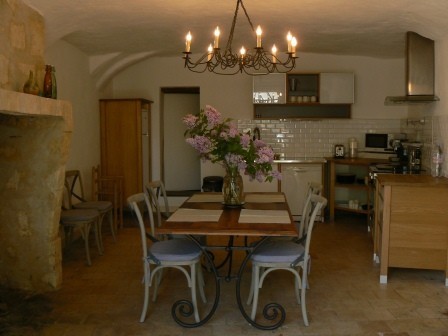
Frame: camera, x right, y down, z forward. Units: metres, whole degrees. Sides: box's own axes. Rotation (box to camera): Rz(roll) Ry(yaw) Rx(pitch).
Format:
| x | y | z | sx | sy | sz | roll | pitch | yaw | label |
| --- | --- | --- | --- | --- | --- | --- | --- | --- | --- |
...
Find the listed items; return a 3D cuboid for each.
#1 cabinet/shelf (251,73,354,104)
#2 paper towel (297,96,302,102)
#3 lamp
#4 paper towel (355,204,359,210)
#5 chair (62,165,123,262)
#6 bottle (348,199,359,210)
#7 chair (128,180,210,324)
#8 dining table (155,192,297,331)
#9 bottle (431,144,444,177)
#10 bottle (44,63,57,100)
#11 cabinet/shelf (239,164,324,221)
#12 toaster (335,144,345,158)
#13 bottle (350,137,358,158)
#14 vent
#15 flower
| x | y | z | sx | sy | sz | roll | pitch | yaw | label |
| --- | --- | --- | --- | --- | --- | --- | --- | --- | --- |
| 1.408 | -1.422 | 6.738 | 1.772 | 0.527 | 0.168 | 1 | 10 | 5 | cabinet/shelf |
| 1.358 | -1.233 | 6.762 | 0.084 | 0.164 | 0.088 | 1 | 14 | 8 | paper towel |
| 0.235 | -1.796 | 5.119 | 1.045 | 1.140 | 1.037 | 0 | 13 | 3 | lamp |
| 2.268 | 0.657 | 6.419 | 0.059 | 0.082 | 0.132 | 3 | 10 | 20 | paper towel |
| -1.934 | 0.686 | 5.451 | 0.411 | 0.757 | 1.163 | 0 | 6 | -5 | chair |
| 2.248 | 0.629 | 6.507 | 0.151 | 0.161 | 0.164 | 1 | -2 | 12 | bottle |
| -0.630 | 0.829 | 4.212 | 1.088 | 1.634 | 1.053 | 0 | 4 | 2 | chair |
| 0.104 | 0.902 | 3.798 | 1.204 | 0.981 | 1.143 | 2 | 10 | 10 | dining table |
| 2.654 | -0.099 | 4.674 | 0.120 | 0.353 | 0.429 | 5 | 11 | 30 | bottle |
| -1.799 | -0.883 | 3.857 | 0.126 | 0.350 | 0.310 | -5 | 11 | -25 | bottle |
| 0.798 | 0.296 | 4.891 | 0.952 | 0.824 | 0.380 | 0 | 1 | 3 | cabinet/shelf |
| 2.133 | -0.307 | 6.902 | 0.211 | 0.232 | 0.240 | 1 | 10 | 4 | toaster |
| 2.383 | -0.370 | 6.950 | 0.148 | 0.333 | 0.235 | 3 | 11 | 18 | bottle |
| 2.502 | -1.375 | 5.046 | 0.656 | 0.886 | 0.542 | 0 | 14 | 24 | vent |
| 0.001 | -0.180 | 4.146 | 1.298 | 1.347 | 1.008 | 1 | -1 | -8 | flower |
